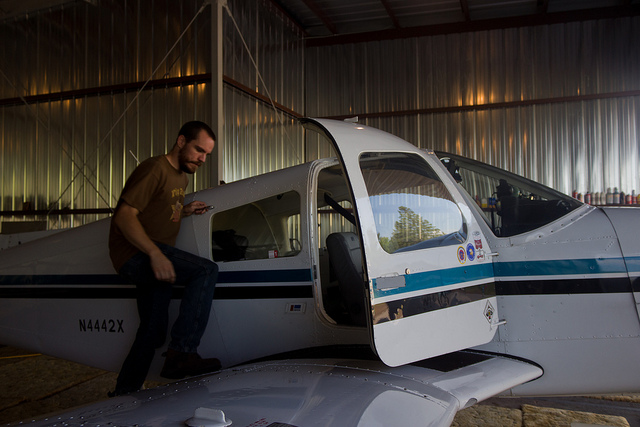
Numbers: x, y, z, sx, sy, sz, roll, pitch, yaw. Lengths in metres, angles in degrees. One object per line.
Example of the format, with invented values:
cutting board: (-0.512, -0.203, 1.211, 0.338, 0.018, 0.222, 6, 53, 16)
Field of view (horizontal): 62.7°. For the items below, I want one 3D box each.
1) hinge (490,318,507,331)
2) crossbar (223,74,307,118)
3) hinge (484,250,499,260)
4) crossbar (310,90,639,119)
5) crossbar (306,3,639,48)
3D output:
hinge: (1.439, 0.870, 4.208, 0.215, 0.054, 0.057, -15, 15, -41)
crossbar: (-0.987, -2.022, 9.352, 0.093, 0.167, 2.686, -4, -3, 21)
hinge: (1.378, 0.330, 4.233, 0.105, 0.077, 0.062, -1, -4, -1)
crossbar: (3.370, -2.099, 10.167, 5.023, 0.292, 0.123, -4, -4, 16)
crossbar: (3.159, -3.636, 10.323, 5.549, 0.540, 0.087, -4, -4, 15)
